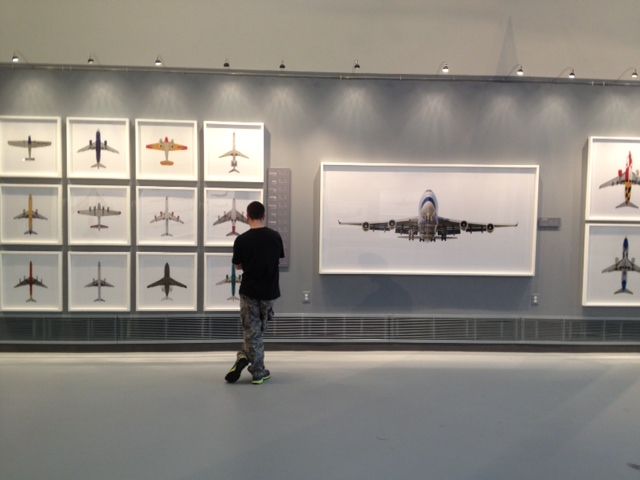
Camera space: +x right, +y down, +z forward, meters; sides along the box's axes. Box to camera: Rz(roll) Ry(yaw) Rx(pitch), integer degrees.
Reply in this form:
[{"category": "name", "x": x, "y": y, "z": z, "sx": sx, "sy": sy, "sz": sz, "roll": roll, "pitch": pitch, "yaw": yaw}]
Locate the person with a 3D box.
[{"category": "person", "x": -0.818, "y": 0.645, "z": 11.923, "sx": 0.727, "sy": 2.267, "sz": 0.233, "roll": 0, "pitch": 4, "yaw": -4}]
